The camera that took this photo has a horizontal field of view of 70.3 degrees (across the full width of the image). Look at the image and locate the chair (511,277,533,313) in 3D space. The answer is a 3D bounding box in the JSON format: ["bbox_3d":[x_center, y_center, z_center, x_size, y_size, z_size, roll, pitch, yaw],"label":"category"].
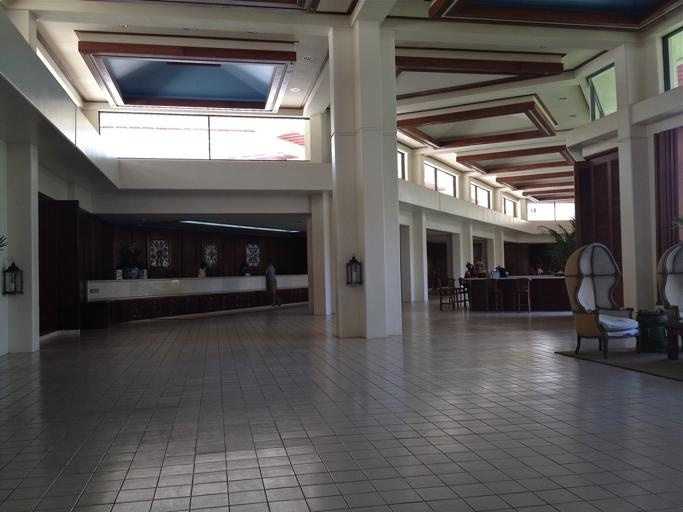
[{"bbox_3d":[5.840,1.260,15.643,0.561,1.091,0.531,-4,-4,33],"label":"chair"}]

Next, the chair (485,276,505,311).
[{"bbox_3d":[5.079,1.285,16.042,0.533,1.060,0.490,-3,-3,30],"label":"chair"}]

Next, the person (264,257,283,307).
[{"bbox_3d":[-2.734,1.113,19.253,0.467,1.884,1.284,-2,-3,8],"label":"person"}]

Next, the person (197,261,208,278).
[{"bbox_3d":[-5.414,0.542,18.907,0.314,0.964,0.418,-11,18,-41],"label":"person"}]

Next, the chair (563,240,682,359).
[{"bbox_3d":[4.632,0.809,8.596,1.792,2.436,1.939,3,-6,-22],"label":"chair"}]

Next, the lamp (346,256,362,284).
[{"bbox_3d":[0.278,0.324,10.132,0.355,0.622,0.253,-2,-3,3],"label":"lamp"}]
